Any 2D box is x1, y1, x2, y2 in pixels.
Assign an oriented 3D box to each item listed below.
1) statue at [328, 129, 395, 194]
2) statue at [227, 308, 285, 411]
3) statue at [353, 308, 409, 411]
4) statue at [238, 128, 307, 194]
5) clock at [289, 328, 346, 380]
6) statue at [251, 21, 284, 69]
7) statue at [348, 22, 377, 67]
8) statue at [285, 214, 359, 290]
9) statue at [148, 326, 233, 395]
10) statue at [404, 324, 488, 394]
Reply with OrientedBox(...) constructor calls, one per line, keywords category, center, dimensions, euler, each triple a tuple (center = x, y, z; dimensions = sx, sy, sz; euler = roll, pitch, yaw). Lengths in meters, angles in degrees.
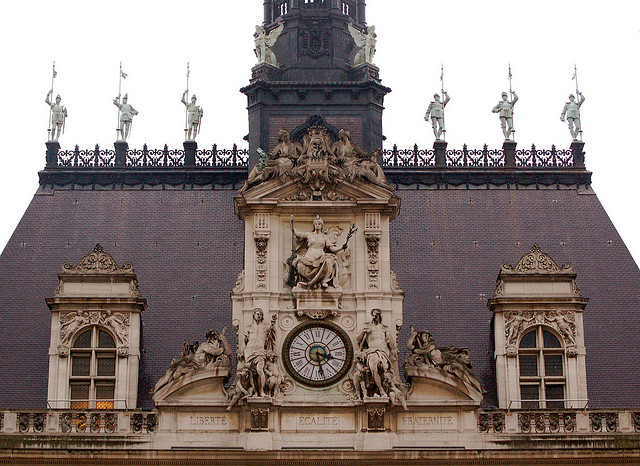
OrientedBox(category="statue", center=(2.094, -3.108, 86.344), dimensions=(3.269, 2.045, 1.652), euler=(25, 26, 28))
OrientedBox(category="statue", center=(-2.409, 4.897, 83.274), dimensions=(1.797, 3.769, 0.740), euler=(-1, -16, -3))
OrientedBox(category="statue", center=(2.483, 5.023, 83.320), dimensions=(1.920, 4.021, 0.913), euler=(-1, -16, 0))
OrientedBox(category="statue", center=(-1.637, -3.041, 86.376), dimensions=(2.513, 2.615, 0.707), euler=(-1, -16, -2))
OrientedBox(category="clock", center=(0.048, 5.019, 84.027), dimensions=(2.336, 2.158, 0.228), euler=(3, -28, 2))
OrientedBox(category="statue", center=(-2.264, -8.809, 96.657), dimensions=(1.267, 2.499, 0.650), euler=(-1, -16, -2))
OrientedBox(category="statue", center=(2.202, -8.880, 96.510), dimensions=(1.200, 2.327, 0.702), euler=(-2, -16, 1))
OrientedBox(category="statue", center=(0.235, 0.918, 85.092), dimensions=(3.030, 3.223, 1.076), euler=(3, -26, -5))
OrientedBox(category="statue", center=(-5.156, 5.229, 84.346), dimensions=(3.621, 2.255, 1.184), euler=(-9, -21, -2))
OrientedBox(category="statue", center=(5.467, 5.347, 85.082), dimensions=(2.820, 2.027, 0.622), euler=(5, -29, -3))
